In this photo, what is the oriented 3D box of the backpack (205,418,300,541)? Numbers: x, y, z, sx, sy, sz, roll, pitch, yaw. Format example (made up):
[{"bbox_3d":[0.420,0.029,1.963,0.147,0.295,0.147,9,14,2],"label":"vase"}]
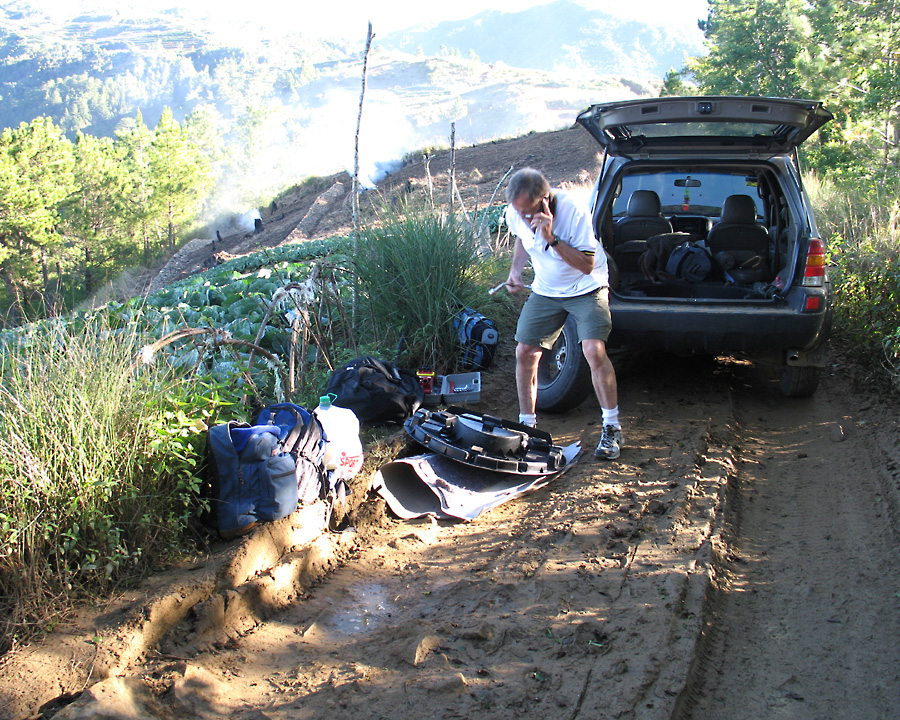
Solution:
[{"bbox_3d":[-1.094,0.588,4.120,0.536,0.477,0.396,2,0,-25],"label":"backpack"}]

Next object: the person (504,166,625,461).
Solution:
[{"bbox_3d":[0.766,-0.296,5.172,0.746,1.848,0.994,-1,6,4],"label":"person"}]

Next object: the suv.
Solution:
[{"bbox_3d":[2.048,-1.032,6.951,2.242,2.031,3.709,3,13,15],"label":"suv"}]

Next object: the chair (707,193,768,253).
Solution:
[{"bbox_3d":[2.451,-1.139,6.600,0.456,0.516,0.523,2,-1,-11],"label":"chair"}]

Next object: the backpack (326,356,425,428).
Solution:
[{"bbox_3d":[-0.552,0.109,5.723,0.709,0.256,0.471,-3,26,-5],"label":"backpack"}]

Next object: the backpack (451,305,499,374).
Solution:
[{"bbox_3d":[0.240,-0.087,6.742,0.314,0.454,0.497,3,1,-23],"label":"backpack"}]

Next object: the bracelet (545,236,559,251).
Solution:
[{"bbox_3d":[0.610,-0.702,4.723,0.087,0.029,0.067,-19,1,34],"label":"bracelet"}]
